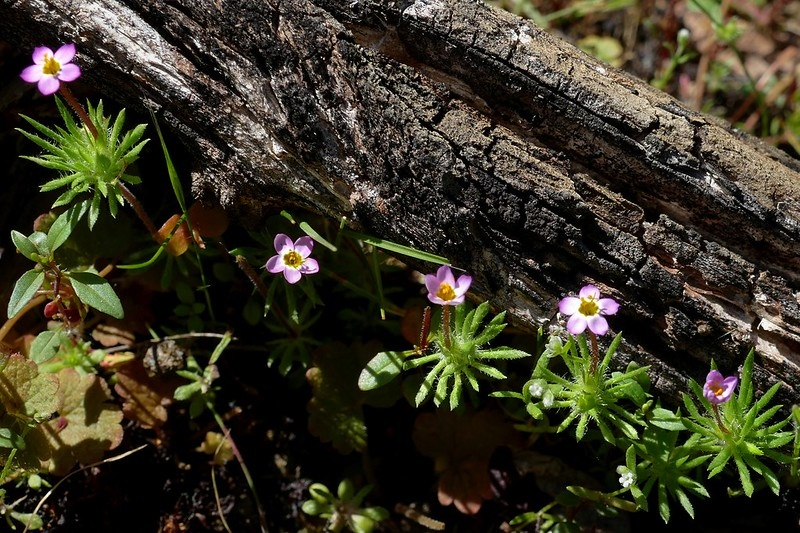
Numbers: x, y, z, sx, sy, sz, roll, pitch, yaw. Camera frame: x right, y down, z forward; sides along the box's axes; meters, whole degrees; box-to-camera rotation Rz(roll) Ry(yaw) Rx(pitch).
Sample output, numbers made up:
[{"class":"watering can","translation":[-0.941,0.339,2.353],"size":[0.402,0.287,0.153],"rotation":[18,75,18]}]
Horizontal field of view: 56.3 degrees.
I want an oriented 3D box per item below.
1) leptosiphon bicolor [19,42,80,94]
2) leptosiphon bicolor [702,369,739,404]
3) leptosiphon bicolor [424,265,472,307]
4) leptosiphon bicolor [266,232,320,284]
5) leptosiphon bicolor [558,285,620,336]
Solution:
[{"class":"leptosiphon bicolor","translation":[-1.702,-0.977,3.718],"size":[0.259,0.291,0.131],"rotation":[5,-29,11]},{"class":"leptosiphon bicolor","translation":[1.511,0.582,3.541],"size":[0.142,0.181,0.109],"rotation":[24,-30,10]},{"class":"leptosiphon bicolor","translation":[0.214,0.115,3.577],"size":[0.238,0.113,0.249],"rotation":[10,38,17]},{"class":"leptosiphon bicolor","translation":[-0.543,-0.039,3.773],"size":[0.266,0.112,0.293],"rotation":[20,20,-10]},{"class":"leptosiphon bicolor","translation":[0.918,0.231,3.563],"size":[0.281,0.107,0.314],"rotation":[-16,45,7]}]
